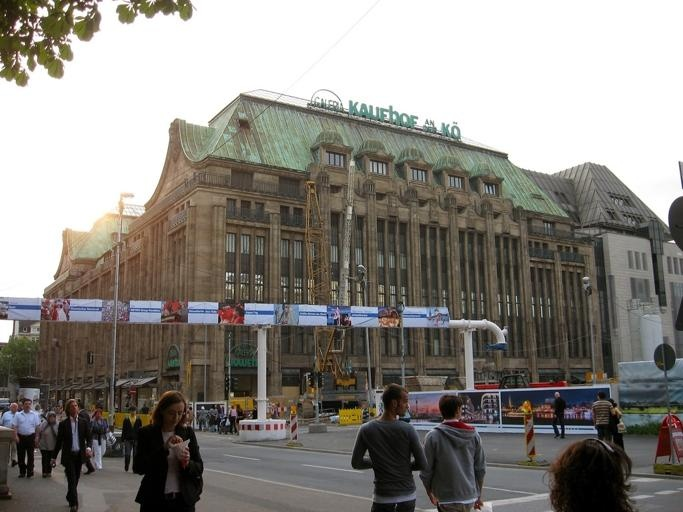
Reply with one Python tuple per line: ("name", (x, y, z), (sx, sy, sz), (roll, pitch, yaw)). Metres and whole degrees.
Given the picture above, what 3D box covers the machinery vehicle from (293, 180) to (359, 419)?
("machinery vehicle", (-1.805, 2.008, 64.907), (4.692, 24.690, 13.542), (-2, -12, 6))
